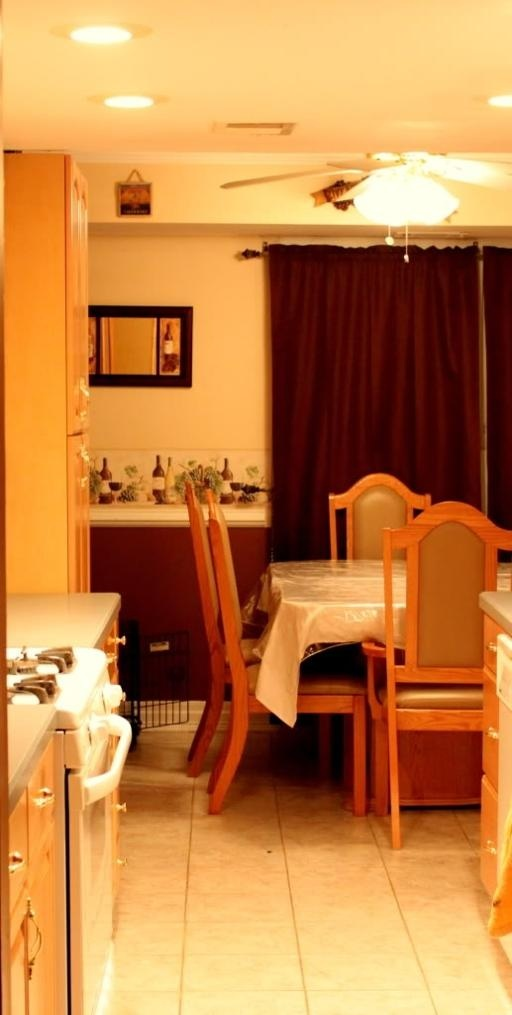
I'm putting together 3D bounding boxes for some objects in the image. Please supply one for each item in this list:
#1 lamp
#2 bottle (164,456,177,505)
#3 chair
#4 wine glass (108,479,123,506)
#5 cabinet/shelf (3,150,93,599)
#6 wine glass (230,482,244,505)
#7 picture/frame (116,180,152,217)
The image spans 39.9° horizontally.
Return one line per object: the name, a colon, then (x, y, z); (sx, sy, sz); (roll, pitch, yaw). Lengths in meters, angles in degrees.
lamp: (0.626, -1.294, 2.963); (0.412, 0.145, 0.226); (0, -2, 14)
bottle: (-0.536, -0.168, 4.419); (0.068, 0.281, 0.027); (1, -1, -18)
chair: (0.310, 0.547, 3.673); (1.053, 1.767, 1.954); (-1, 7, -4)
wine glass: (-0.884, -0.085, 4.459); (0.095, 0.149, 0.113); (3, 5, 5)
cabinet/shelf: (-0.683, -0.421, 2.303); (0.245, 1.412, 0.370); (1, -1, -13)
wine glass: (-0.121, -0.082, 4.451); (0.092, 0.185, 0.090); (6, -9, -36)
picture/frame: (-0.721, -1.794, 4.115); (0.155, 0.219, 0.026); (0, -3, -2)
